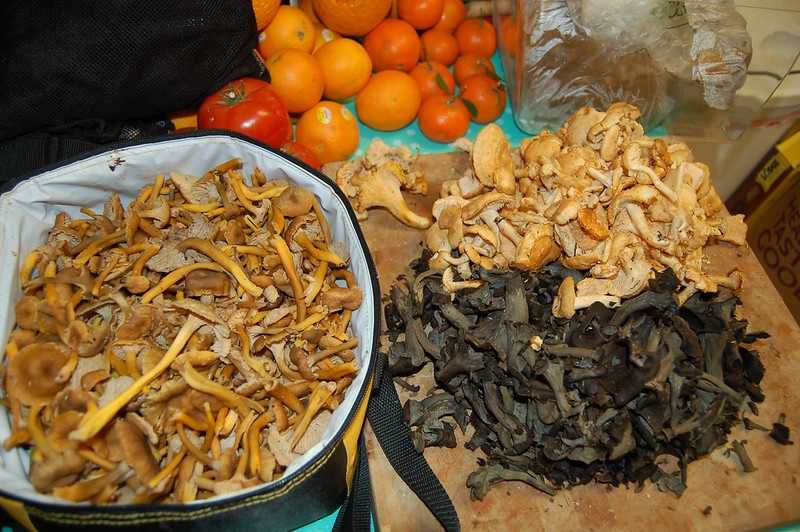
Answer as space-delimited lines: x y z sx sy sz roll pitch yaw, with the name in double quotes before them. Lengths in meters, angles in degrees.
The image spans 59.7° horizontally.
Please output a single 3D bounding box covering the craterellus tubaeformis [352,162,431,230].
"craterellus tubaeformis" -0.051 -0.314 3.340 0.369 0.118 0.255 38 58 13
